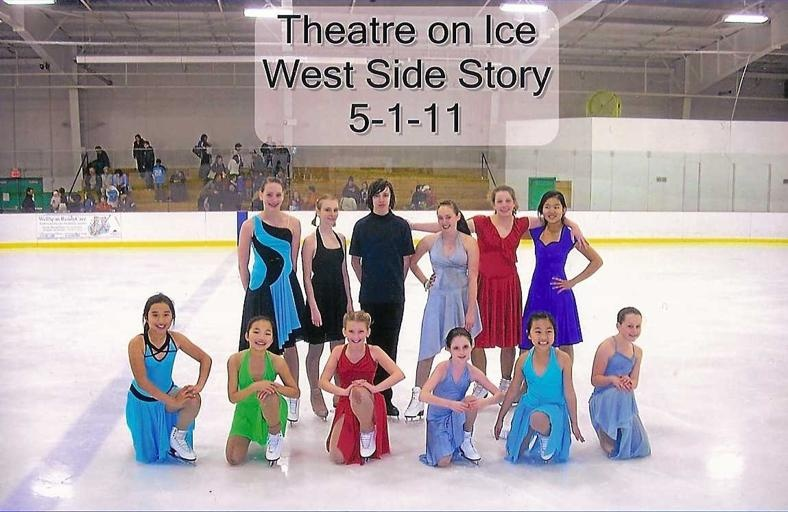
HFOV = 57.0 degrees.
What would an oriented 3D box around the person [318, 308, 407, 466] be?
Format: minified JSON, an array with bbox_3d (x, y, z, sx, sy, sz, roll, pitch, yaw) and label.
[{"bbox_3d":[-0.352,1.314,7.416,0.814,1.485,0.440,-3,5,-8],"label":"person"}]

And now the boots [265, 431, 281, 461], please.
[{"bbox_3d":[-1.204,1.897,7.218,0.099,0.314,0.120,-2,-7,2],"label":"boots"}]

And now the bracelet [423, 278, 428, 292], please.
[{"bbox_3d":[0.359,0.326,8.208,0.071,0.102,0.032,6,-4,-17],"label":"bracelet"}]

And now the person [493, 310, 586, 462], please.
[{"bbox_3d":[1.481,1.360,7.346,0.900,1.456,0.856,1,3,10],"label":"person"}]

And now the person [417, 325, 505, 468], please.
[{"bbox_3d":[0.641,1.407,7.349,0.793,1.334,0.384,-2,5,2],"label":"person"}]

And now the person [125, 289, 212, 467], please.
[{"bbox_3d":[-2.296,1.218,7.331,0.798,1.693,0.305,-2,5,2],"label":"person"}]

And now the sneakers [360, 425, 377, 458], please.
[{"bbox_3d":[-0.262,1.868,7.342,0.111,0.306,0.124,-1,0,2],"label":"sneakers"}]

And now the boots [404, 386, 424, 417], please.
[{"bbox_3d":[0.227,1.593,7.947,0.134,0.335,0.436,-3,-1,26],"label":"boots"}]

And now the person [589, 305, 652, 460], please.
[{"bbox_3d":[2.314,1.289,7.454,0.604,1.500,0.437,-1,5,12],"label":"person"}]

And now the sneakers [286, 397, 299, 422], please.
[{"bbox_3d":[-1.090,1.665,7.865,0.113,0.367,0.138,3,2,1],"label":"sneakers"}]

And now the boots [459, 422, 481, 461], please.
[{"bbox_3d":[0.773,1.901,7.290,0.203,0.330,0.139,-3,5,-14],"label":"boots"}]

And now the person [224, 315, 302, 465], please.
[{"bbox_3d":[-1.350,1.491,7.345,0.743,1.145,0.423,-3,5,-7],"label":"person"}]
